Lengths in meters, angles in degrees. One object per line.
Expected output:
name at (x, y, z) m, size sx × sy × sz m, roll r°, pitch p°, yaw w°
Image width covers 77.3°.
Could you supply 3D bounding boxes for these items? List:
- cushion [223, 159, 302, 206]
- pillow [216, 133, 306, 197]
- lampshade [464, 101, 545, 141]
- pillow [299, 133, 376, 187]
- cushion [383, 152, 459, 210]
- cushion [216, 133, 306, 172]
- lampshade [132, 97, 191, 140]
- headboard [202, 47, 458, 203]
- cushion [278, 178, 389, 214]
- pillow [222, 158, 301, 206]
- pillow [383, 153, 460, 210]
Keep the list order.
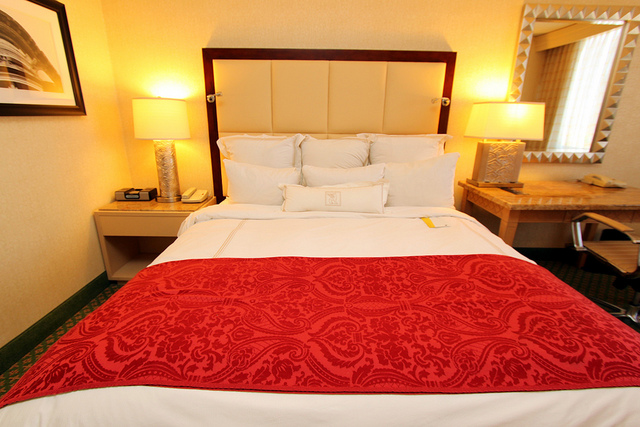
cushion at (-0.485, -0.252, 3.323) m, size 0.689 × 0.239 × 0.144 m, roll 2°, pitch 1°, yaw 1°
pillow at (-0.541, -0.505, 3.567) m, size 0.783 × 0.419 × 0.126 m, roll -8°, pitch 42°, yaw -29°
lampshade at (1.592, -0.797, 3.443) m, size 0.738 × 0.257 × 0.426 m, roll 4°, pitch 18°, yaw 12°
pillow at (0.135, -0.440, 3.429) m, size 0.817 × 0.409 × 0.218 m, roll 0°, pitch -13°, yaw 2°
cushion at (0.805, -0.265, 3.317) m, size 0.832 × 0.362 × 0.226 m, roll 0°, pitch -6°, yaw 3°
cushion at (-0.502, -0.530, 3.503) m, size 0.694 × 0.291 × 0.081 m, roll 0°, pitch -5°, yaw 1°
lampshade at (-1.390, -0.852, 3.624) m, size 0.615 × 0.278 × 0.479 m, roll -6°, pitch 16°, yaw -16°
headboard at (0.103, -0.815, 3.531) m, size 2.442 × 1.041 × 0.114 m, roll 0°, pitch 17°, yaw -2°
cushion at (0.086, -0.135, 3.209) m, size 0.895 × 0.145 × 0.160 m, roll -1°, pitch 35°, yaw 3°
pillow at (-0.488, -0.255, 3.326) m, size 0.701 × 0.255 × 0.146 m, roll 2°, pitch 1°, yaw 1°
pillow at (0.804, -0.262, 3.315) m, size 0.834 × 0.350 × 0.225 m, roll -1°, pitch -5°, yaw 3°
